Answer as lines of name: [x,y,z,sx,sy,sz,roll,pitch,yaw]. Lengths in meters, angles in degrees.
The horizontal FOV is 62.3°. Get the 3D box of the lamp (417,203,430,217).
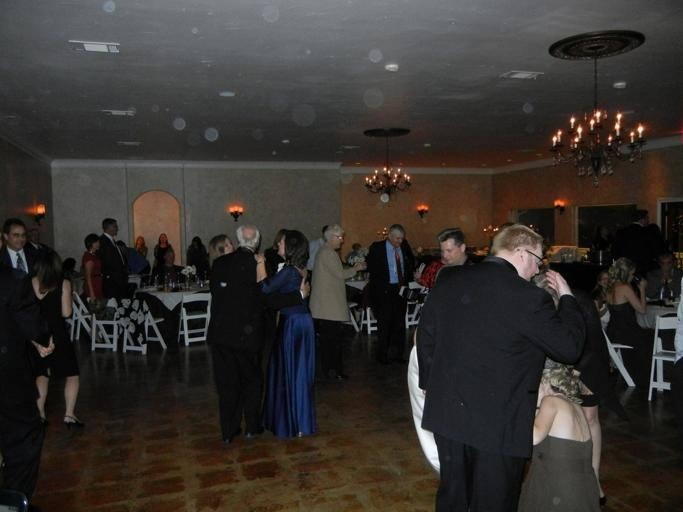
lamp: [2.499,-1.416,17.316,0.403,0.515,0.151,1,4,-2]

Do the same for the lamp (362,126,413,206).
lamp: [0.752,-2.058,13.396,1.322,1.856,1.373,3,10,12]

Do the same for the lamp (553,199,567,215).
lamp: [5.861,-1.304,15.179,0.104,0.413,0.365,-6,8,-33]

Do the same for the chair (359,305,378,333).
chair: [0.465,1.105,9.724,0.393,0.623,0.335,0,-1,5]

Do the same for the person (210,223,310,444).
person: [-0.822,0.726,5.035,0.720,1.976,0.384,-2,7,-5]

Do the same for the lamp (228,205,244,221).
lamp: [-2.720,-1.122,14.666,0.362,0.501,0.420,1,-2,-4]

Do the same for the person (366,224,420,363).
person: [0.744,0.499,7.598,0.671,1.815,0.648,-4,6,-28]

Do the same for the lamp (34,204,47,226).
lamp: [-6.631,-0.920,12.446,0.170,0.436,0.518,-4,7,-20]

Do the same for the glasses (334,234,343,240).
glasses: [-0.012,-0.219,6.411,0.051,0.059,0.233,0,7,10]

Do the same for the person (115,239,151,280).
person: [-4.121,0.074,11.166,0.377,0.367,0.857,9,-21,25]

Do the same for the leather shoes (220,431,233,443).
leather shoes: [-1.043,1.668,5.181,0.049,0.064,0.138,2,2,0]

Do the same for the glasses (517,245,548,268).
glasses: [1.099,-0.003,3.264,0.040,0.136,0.131,-35,-25,17]

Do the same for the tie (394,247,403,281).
tie: [0.783,0.126,7.502,0.135,0.482,0.067,-8,10,-44]
